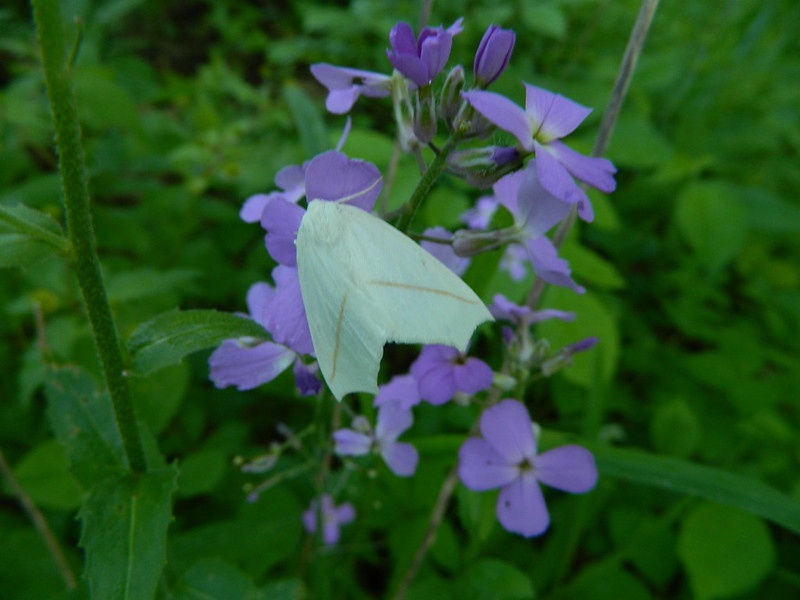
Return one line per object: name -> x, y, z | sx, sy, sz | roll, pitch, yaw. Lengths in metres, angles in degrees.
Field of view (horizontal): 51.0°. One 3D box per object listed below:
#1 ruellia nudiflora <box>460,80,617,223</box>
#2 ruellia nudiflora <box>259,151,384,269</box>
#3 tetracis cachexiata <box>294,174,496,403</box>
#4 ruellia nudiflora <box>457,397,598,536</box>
ruellia nudiflora -> 0.291, -0.324, 1.746 | 0.335, 0.199, 0.201 | 22, 36, 12
ruellia nudiflora -> -0.166, -0.209, 1.723 | 0.194, 0.255, 0.252 | 14, 33, 20
tetracis cachexiata -> -0.024, 0.028, 1.684 | 0.397, 0.258, 0.214 | 12, 34, -2
ruellia nudiflora -> 0.261, 0.358, 1.751 | 0.284, 0.196, 0.153 | 25, 36, 17
